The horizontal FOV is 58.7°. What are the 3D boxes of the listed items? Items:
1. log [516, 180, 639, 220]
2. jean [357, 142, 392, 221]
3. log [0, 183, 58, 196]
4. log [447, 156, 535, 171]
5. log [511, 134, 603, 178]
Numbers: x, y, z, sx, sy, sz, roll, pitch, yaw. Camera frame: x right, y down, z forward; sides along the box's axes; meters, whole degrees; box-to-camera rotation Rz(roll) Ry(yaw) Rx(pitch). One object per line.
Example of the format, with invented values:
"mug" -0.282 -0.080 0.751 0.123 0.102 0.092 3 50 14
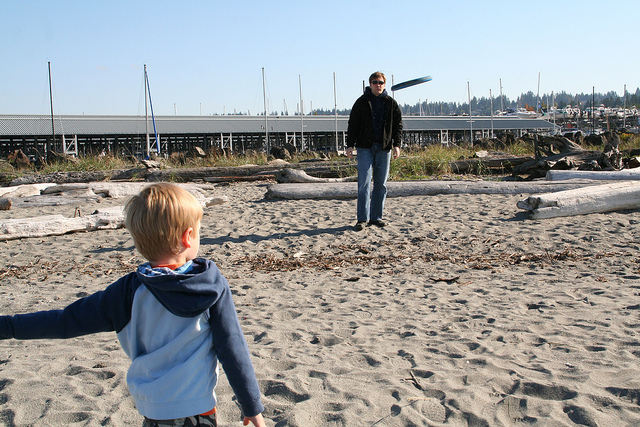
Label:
"log" 4.309 -0.194 9.366 1.711 0.327 0.446 -6 35 -13
"jean" 0.828 -0.461 8.821 0.505 1.260 0.309 -3 14 -5
"log" -6.855 -0.545 13.429 0.168 0.167 1.326 5 14 42
"log" 4.598 -1.315 15.155 2.411 0.365 0.376 -5 11 -10
"log" 5.748 -1.010 13.871 1.695 0.785 1.303 13 49 26
